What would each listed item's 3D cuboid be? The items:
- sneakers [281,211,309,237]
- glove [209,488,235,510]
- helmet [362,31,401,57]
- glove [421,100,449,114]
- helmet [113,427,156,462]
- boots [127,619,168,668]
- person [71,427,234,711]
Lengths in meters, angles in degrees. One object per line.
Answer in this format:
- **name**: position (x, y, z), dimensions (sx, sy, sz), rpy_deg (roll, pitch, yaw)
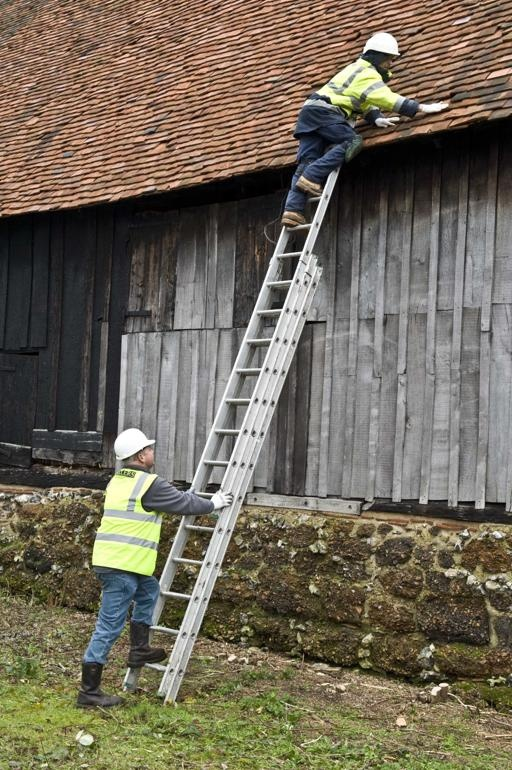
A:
- **sneakers**: position (0.297, -1.167, 8.104), dimensions (0.094, 0.111, 0.254), rpy_deg (6, 3, 36)
- **glove**: position (-0.219, 0.739, 7.186), dimensions (0.073, 0.208, 0.270), rpy_deg (-5, -15, 19)
- **helmet**: position (0.910, -2.484, 8.257), dimensions (0.257, 0.138, 0.198), rpy_deg (7, 9, 27)
- **glove**: position (1.233, -1.926, 7.824), dimensions (0.208, 0.091, 0.156), rpy_deg (2, 3, 13)
- **helmet**: position (-0.779, 0.360, 7.174), dimensions (0.254, 0.135, 0.205), rpy_deg (-37, 16, -24)
- **boots**: position (-0.721, 1.667, 7.274), dimensions (0.334, 0.306, 0.166), rpy_deg (-1, -1, -26)
- **person**: position (-0.741, 1.139, 7.004), dimensions (0.659, 1.661, 0.727), rpy_deg (4, 4, 35)
